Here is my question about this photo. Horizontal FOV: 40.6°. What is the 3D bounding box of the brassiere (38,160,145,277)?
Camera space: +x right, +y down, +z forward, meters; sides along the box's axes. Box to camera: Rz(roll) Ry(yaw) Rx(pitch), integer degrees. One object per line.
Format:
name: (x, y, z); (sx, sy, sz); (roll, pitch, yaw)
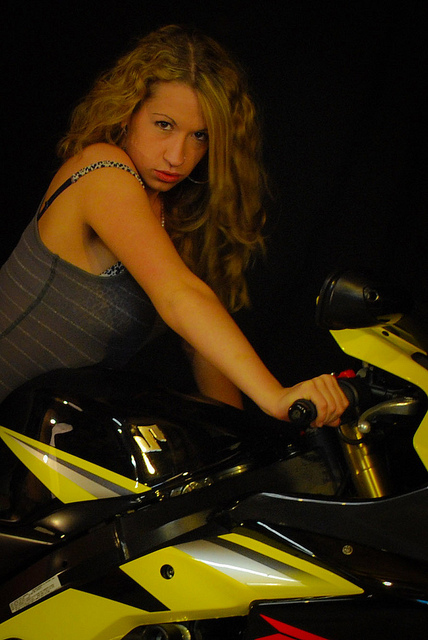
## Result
brassiere: (-0.214, -0.164, 0.939); (0.152, 0.183, 0.048); (31, 7, -35)
